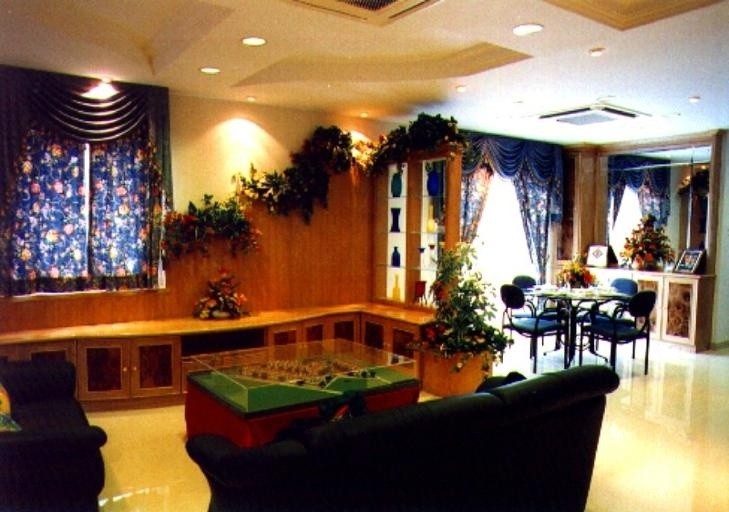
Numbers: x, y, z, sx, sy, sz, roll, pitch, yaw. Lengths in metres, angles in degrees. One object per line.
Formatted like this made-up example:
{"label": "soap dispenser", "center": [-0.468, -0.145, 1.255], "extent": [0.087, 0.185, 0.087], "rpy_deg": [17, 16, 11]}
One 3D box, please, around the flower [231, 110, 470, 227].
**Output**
{"label": "flower", "center": [-0.419, -1.228, 7.413], "extent": [1.921, 0.713, 1.973], "rpy_deg": [3, 21, 46]}

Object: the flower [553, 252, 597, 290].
{"label": "flower", "center": [3.326, 0.294, 8.535], "extent": [0.599, 0.762, 0.632], "rpy_deg": [3, 8, 26]}

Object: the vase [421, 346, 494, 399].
{"label": "vase", "center": [1.108, 1.434, 6.739], "extent": [0.677, 0.616, 0.663], "rpy_deg": [1, 0, -34]}

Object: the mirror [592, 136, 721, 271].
{"label": "mirror", "center": [5.158, -0.901, 9.495], "extent": [0.180, 1.665, 2.265], "rpy_deg": [0, 3, -31]}

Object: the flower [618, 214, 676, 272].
{"label": "flower", "center": [4.888, -0.223, 9.503], "extent": [0.804, 0.957, 0.544], "rpy_deg": [0, 2, 25]}

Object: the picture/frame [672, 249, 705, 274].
{"label": "picture/frame", "center": [5.370, 0.097, 9.051], "extent": [0.094, 0.386, 0.381], "rpy_deg": [24, -5, -22]}
